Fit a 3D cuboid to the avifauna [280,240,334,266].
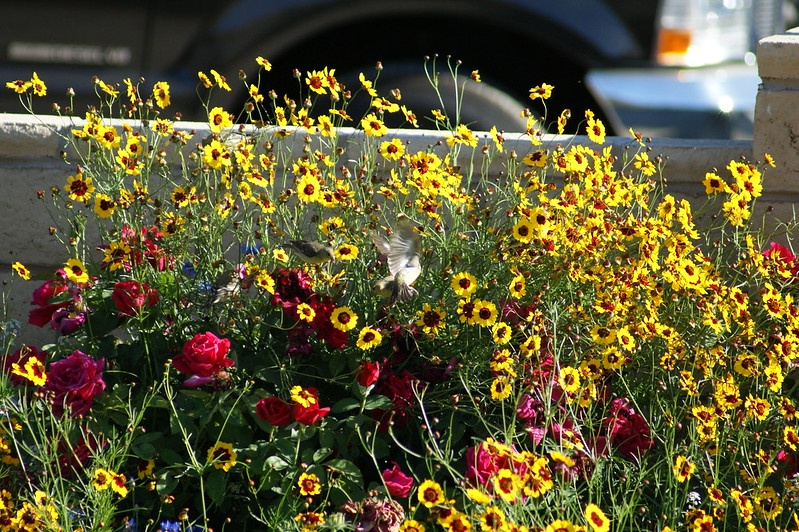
[{"bbox_3d":[-0.311,-0.044,3.341,0.173,0.085,0.098,2,6,-2],"label":"avifauna"}]
